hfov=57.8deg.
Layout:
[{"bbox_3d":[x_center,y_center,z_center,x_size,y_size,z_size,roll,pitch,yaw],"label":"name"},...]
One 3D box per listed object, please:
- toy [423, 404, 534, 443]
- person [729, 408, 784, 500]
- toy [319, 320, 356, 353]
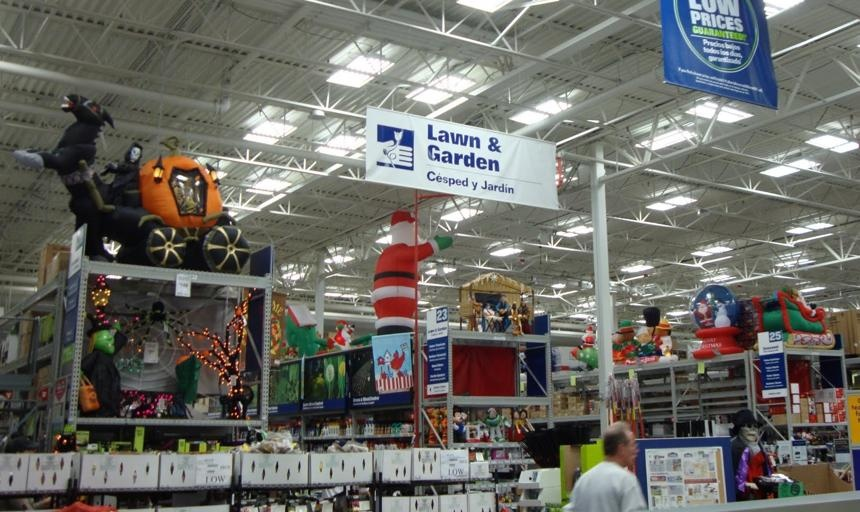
[{"bbox_3d":[0.860,3.140,14.377,1.937,0.729,1.074,4,-17,-18],"label":"toy"},{"bbox_3d":[4.643,2.864,11.326,0.492,1.288,1.030,-8,-17,21],"label":"person"},{"bbox_3d":[-2.177,1.938,18.646,0.802,0.875,0.688,0,-11,-17],"label":"toy"}]
